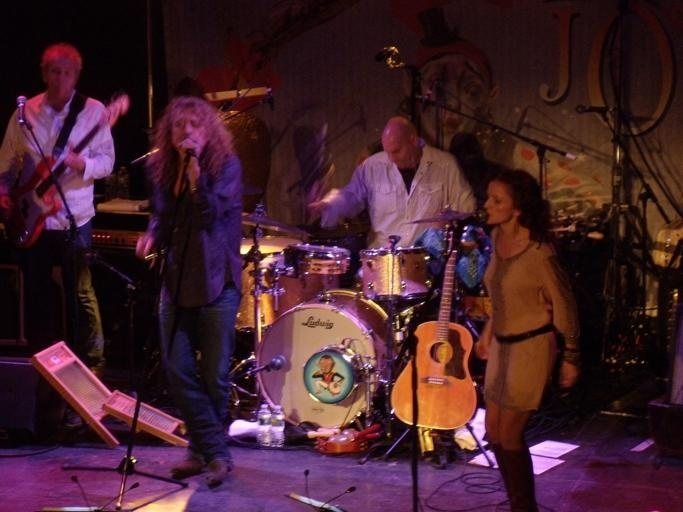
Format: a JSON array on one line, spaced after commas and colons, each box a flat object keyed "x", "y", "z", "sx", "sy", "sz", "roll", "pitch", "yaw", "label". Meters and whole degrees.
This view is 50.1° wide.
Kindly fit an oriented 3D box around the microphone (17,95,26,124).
[{"x": -2.587, "y": -1.170, "z": 5.898, "sx": 0.057, "sy": 0.219, "sz": 0.355, "roll": -3, "pitch": 9, "yaw": -24, "label": "microphone"}]

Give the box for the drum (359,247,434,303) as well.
[{"x": 0.423, "y": 0.138, "z": 6.260, "sx": 0.634, "sy": 0.429, "sz": 0.631, "roll": -1, "pitch": 3, "yaw": 0, "label": "drum"}]

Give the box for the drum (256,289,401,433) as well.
[{"x": -0.211, "y": 1.064, "z": 6.463, "sx": 1.150, "sy": 1.145, "sz": 0.715, "roll": 6, "pitch": -23, "yaw": -7, "label": "drum"}]

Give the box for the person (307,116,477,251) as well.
[{"x": 0.526, "y": -0.583, "z": 6.990, "sx": 1.568, "sy": 1.444, "sz": 0.874, "roll": 5, "pitch": 36, "yaw": 10, "label": "person"}]

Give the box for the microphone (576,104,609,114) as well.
[{"x": 2.399, "y": -1.408, "z": 6.999, "sx": 0.302, "sy": 0.088, "sz": 0.044, "roll": 4, "pitch": 9, "yaw": 21, "label": "microphone"}]

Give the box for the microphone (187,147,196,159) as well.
[{"x": -0.945, "y": -0.650, "z": 4.590, "sx": 0.052, "sy": 0.032, "sz": 0.080, "roll": -9, "pitch": 7, "yaw": -16, "label": "microphone"}]

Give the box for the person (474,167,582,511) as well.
[{"x": 1.117, "y": 0.481, "z": 4.466, "sx": 0.485, "sy": 1.987, "sz": 0.615, "roll": -4, "pitch": 9, "yaw": -27, "label": "person"}]

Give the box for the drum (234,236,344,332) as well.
[{"x": -0.489, "y": 0.206, "z": 7.167, "sx": 1.053, "sy": 1.134, "sz": 1.055, "roll": -2, "pitch": -25, "yaw": -4, "label": "drum"}]
